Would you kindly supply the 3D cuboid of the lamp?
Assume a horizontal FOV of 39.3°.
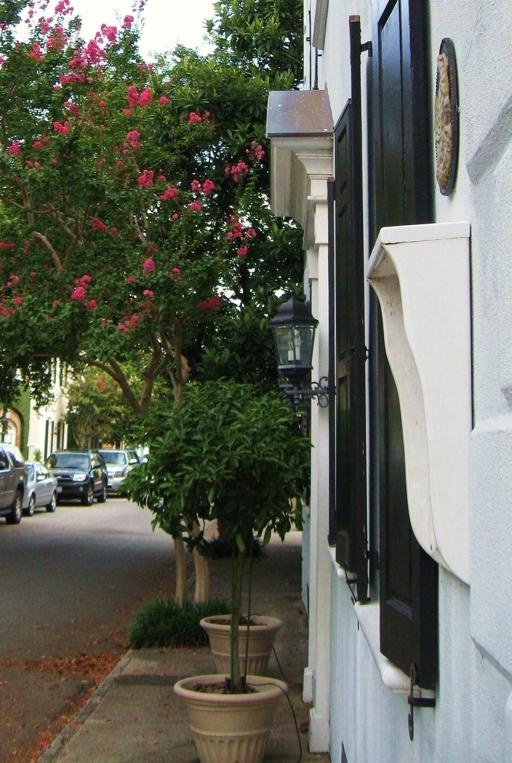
[{"bbox_3d":[0.333,-0.189,5.153,0.291,0.916,0.305,-5,-27,8],"label":"lamp"}]
